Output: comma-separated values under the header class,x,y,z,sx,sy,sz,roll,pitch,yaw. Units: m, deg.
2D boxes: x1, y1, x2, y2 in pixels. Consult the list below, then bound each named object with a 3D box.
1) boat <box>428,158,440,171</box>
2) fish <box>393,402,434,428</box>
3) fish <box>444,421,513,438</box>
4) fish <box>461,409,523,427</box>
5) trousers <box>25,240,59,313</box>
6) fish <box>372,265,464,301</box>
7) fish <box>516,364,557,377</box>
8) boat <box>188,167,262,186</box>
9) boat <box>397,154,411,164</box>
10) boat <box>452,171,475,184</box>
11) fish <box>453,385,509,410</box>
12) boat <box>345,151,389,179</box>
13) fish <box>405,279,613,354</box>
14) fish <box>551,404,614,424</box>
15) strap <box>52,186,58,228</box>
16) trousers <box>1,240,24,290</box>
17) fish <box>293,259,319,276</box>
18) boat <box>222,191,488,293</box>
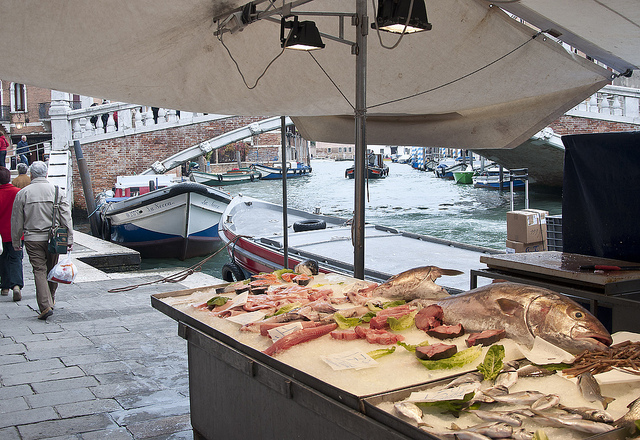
class,x,y,z,sx,sy,sz,roll,pitch,yaw
boat,14.051,-7.058,63.650,1.308,0.810,5.588,8,-2,10
fish,0.404,0.880,2.347,0.078,0.025,0.175,-2,9,-19
fish,0.691,0.909,2.224,0.268,0.057,0.102,4,7,9
fish,0.764,0.868,2.288,0.239,0.045,0.081,1,15,17
trousers,-3.796,0.752,7.084,0.548,0.932,0.509,0,13,-27
fish,0.633,0.421,3.771,0.792,0.220,0.547,-2,8,-24
fish,1.080,0.762,2.599,0.156,0.023,0.068,-3,6,0
boat,-8.150,-3.674,44.056,1.914,0.832,5.203,5,6,44
boat,15.925,-11.640,98.038,1.364,1.635,4.683,4,6,0
boat,11.858,-3.575,42.482,1.502,1.064,1.042,5,7,13
fish,0.783,0.827,2.431,0.406,0.050,0.081,-7,20,-18
boat,6.368,-6.620,56.387,6.564,1.809,1.662,-12,18,-2
fish,1.165,0.548,2.947,0.317,0.297,0.905,-3,8,-41
fish,1.143,0.853,2.245,0.166,0.021,0.067,2,1,41
strap,-3.620,-0.185,7.010,0.059,0.542,0.177,1,9,-25
trousers,-4.913,0.720,8.176,0.289,0.844,0.501,0,9,-30
fish,-0.122,0.414,4.466,0.212,0.058,0.134,3,0,-8
boat,-0.112,0.458,9.560,1.854,0.841,5.487,-7,13,-43
